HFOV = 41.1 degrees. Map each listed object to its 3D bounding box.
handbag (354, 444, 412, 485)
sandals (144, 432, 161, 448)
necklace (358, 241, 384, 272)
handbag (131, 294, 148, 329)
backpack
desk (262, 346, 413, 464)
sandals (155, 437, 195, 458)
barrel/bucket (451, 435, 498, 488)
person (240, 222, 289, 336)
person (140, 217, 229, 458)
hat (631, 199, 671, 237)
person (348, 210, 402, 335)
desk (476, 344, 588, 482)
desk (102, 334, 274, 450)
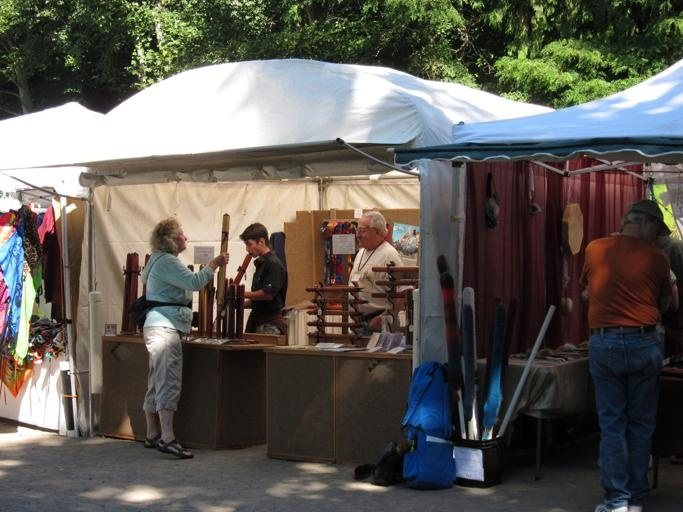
[{"bbox_3d":[0.351,1.832,7.937,0.434,0.201,0.326,-8,0,5],"label":"handbag"},{"bbox_3d":[-1.839,1.814,8.938,0.096,0.110,0.255,1,3,16],"label":"sandals"},{"bbox_3d":[0.262,0.044,9.132,0.291,0.274,0.225,-4,1,-19],"label":"necklace"},{"bbox_3d":[-1.990,0.569,8.932,0.108,0.276,0.208,4,2,-23],"label":"handbag"},{"bbox_3d":[0.751,1.457,7.850,0.456,1.043,0.386,0,5,4],"label":"backpack"},{"bbox_3d":[0.092,1.402,8.773,1.555,1.059,0.858,0,1,27],"label":"desk"},{"bbox_3d":[-1.589,1.824,8.718,0.390,0.171,0.154,11,-2,4],"label":"sandals"},{"bbox_3d":[1.203,1.787,7.944,0.381,0.380,0.383,0,-7,0],"label":"barrel/bucket"},{"bbox_3d":[-0.811,0.239,9.484,0.460,1.139,0.455,-1,5,-6],"label":"person"},{"bbox_3d":[-1.641,0.779,8.864,0.537,2.251,0.709,-4,6,-43],"label":"person"},{"bbox_3d":[2.498,-0.328,7.328,0.313,0.155,0.315,25,-11,6],"label":"hat"},{"bbox_3d":[0.329,0.147,9.029,0.491,1.146,0.744,0,4,3],"label":"person"},{"bbox_3d":[1.697,1.316,8.470,1.338,0.660,0.932,-1,2,-43],"label":"desk"},{"bbox_3d":[-1.675,1.412,9.625,1.540,1.079,0.883,0,-7,26],"label":"desk"}]
